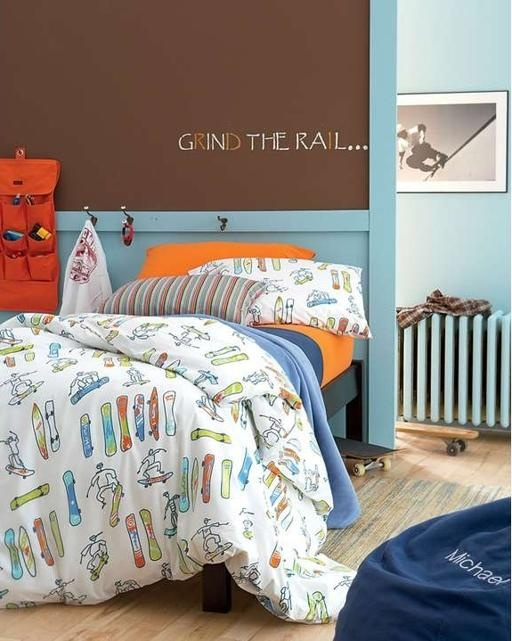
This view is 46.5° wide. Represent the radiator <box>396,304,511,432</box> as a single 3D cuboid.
[{"bbox_3d":[1.074,0.254,3.192,0.531,0.697,0.738,1,2,41],"label":"radiator"}]

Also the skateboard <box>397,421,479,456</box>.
[{"bbox_3d":[0.960,0.620,3.183,0.431,0.113,0.318,3,3,40],"label":"skateboard"}]
